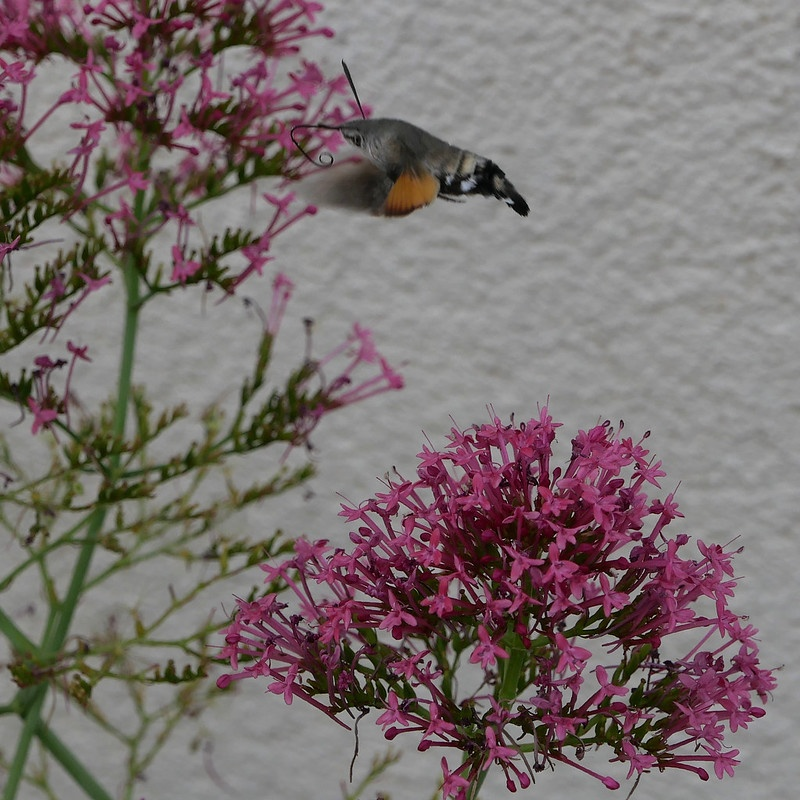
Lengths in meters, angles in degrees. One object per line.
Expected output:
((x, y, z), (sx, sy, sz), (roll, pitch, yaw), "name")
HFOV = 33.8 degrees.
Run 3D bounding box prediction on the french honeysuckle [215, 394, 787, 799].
((0.149, 0.285, 1.844), (0.670, 0.730, 0.526), (-9, 60, 9), "french honeysuckle")
